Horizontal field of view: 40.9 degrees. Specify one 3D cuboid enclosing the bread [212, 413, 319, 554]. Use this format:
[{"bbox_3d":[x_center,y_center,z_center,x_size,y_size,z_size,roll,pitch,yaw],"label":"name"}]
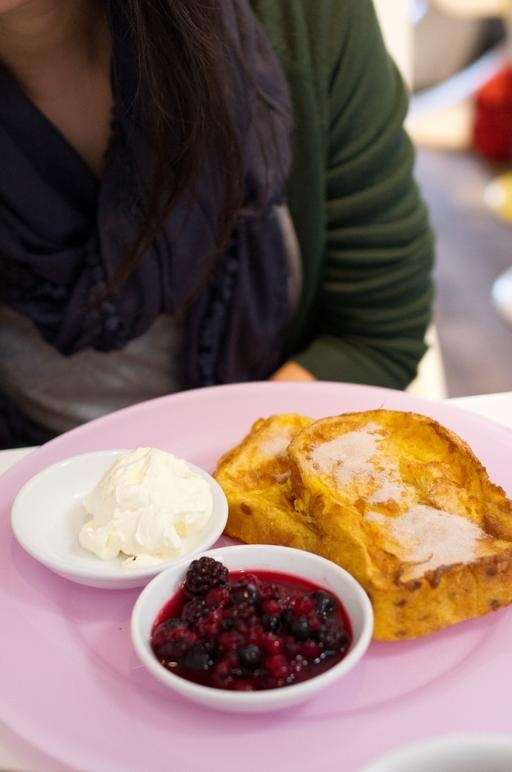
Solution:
[{"bbox_3d":[0.035,0.220,1.489,0.243,0.064,0.230,13,50,33],"label":"bread"}]
